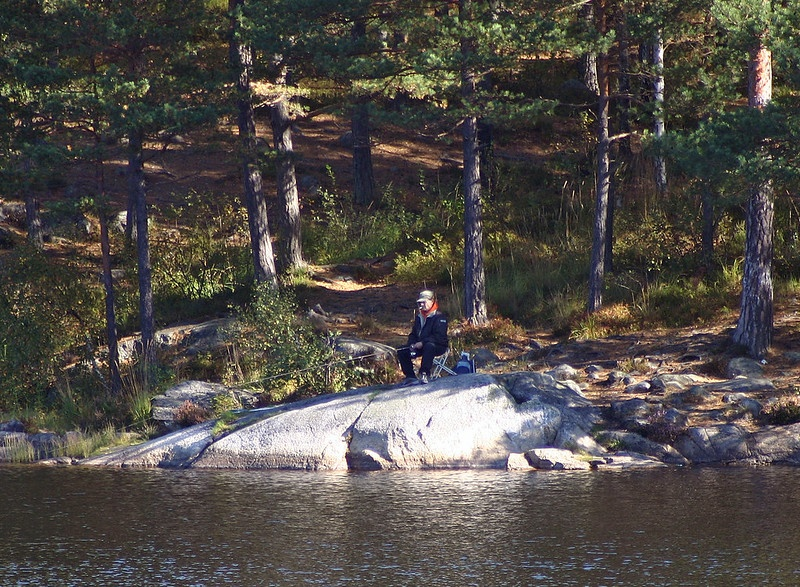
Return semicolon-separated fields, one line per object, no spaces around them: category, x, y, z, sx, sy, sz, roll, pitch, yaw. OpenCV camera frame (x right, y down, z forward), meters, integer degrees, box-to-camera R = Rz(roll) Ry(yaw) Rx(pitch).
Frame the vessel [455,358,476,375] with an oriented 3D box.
vessel;1.507;1.656;46.421;0.513;0.543;0.297;3;-10;2

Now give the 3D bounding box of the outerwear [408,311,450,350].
outerwear;0.688;0.756;46.305;0.839;1.044;1.007;6;-5;-38
